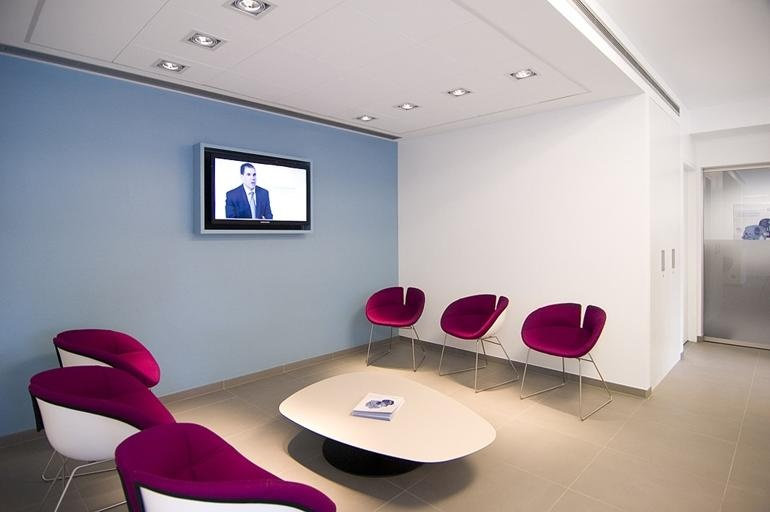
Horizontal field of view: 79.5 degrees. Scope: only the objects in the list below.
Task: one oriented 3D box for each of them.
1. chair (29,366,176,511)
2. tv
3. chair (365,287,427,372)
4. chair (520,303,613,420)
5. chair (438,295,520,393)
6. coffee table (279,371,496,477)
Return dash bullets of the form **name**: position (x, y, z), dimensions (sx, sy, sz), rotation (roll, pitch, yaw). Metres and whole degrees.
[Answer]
- **chair**: position (-2.425, 1.561, 4.364), dimensions (1.268, 1.302, 1.330), rotation (-1, 2, -30)
- **tv**: position (-1.745, -0.861, 5.933), dimensions (0.177, 0.821, 1.343), rotation (-2, -2, 43)
- **chair**: position (0.170, 1.024, 6.881), dimensions (0.881, 1.081, 0.767), rotation (1, 4, 20)
- **chair**: position (2.244, 1.234, 5.684), dimensions (0.920, 1.218, 0.971), rotation (-5, 7, -35)
- **chair**: position (1.252, 1.112, 6.279), dimensions (0.791, 1.139, 1.029), rotation (1, -1, -30)
- **coffee table**: position (0.036, 1.571, 4.448), dimensions (1.922, 0.367, 1.194), rotation (2, 4, 33)
